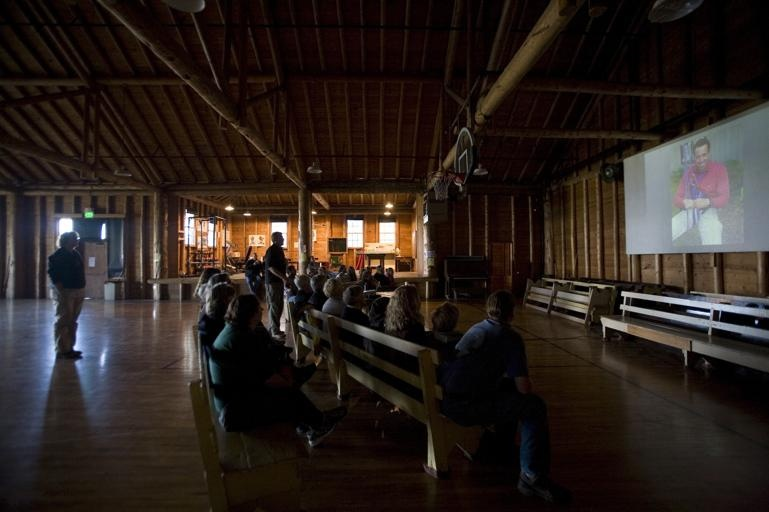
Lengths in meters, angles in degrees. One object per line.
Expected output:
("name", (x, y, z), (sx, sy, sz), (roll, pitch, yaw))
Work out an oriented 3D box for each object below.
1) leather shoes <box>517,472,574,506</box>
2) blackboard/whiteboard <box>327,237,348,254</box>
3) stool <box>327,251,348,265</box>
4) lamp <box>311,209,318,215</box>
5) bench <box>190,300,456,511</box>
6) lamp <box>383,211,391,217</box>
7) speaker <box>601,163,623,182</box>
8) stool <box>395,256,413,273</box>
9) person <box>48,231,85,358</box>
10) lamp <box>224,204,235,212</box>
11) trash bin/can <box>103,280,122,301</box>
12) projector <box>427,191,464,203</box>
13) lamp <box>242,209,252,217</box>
("leather shoes", (1.954, 2.812, 6.413), (0.590, 0.293, 0.270), (2, -3, 10))
("blackboard/whiteboard", (-1.897, -0.391, 21.309), (0.957, 0.821, 0.529), (0, -6, -1))
("stool", (-1.835, 0.081, 21.258), (0.741, 0.715, 0.547), (0, -8, -8))
("lamp", (-2.862, -1.831, 21.827), (0.202, 0.177, 0.503), (1, 1, -11))
("bench", (-1.121, 1.690, 7.467), (3.036, 1.937, 3.011), (1, 1, -21))
("lamp", (0.120, -1.743, 21.906), (0.252, 0.191, 0.210), (1, 0, -1))
("speaker", (5.616, -1.970, 13.169), (0.398, 0.608, 0.593), (0, 4, -17))
("stool", (0.785, 0.332, 21.117), (0.701, 0.726, 0.522), (0, -11, -2))
("person", (-5.694, 0.679, 9.472), (0.532, 1.494, 0.677), (1, 0, -32))
("lamp", (-6.177, -1.882, 21.089), (0.355, 0.168, 0.362), (-2, -7, 7))
("trash bin/can", (-8.516, 1.081, 16.554), (0.552, 0.815, 0.560), (-1, 0, -14))
("projector", (1.401, -1.395, 12.452), (0.484, 0.125, 0.514), (0, 2, 45))
("lamp", (-5.692, -1.773, 21.939), (0.256, 0.272, 0.260), (0, -4, -9))
